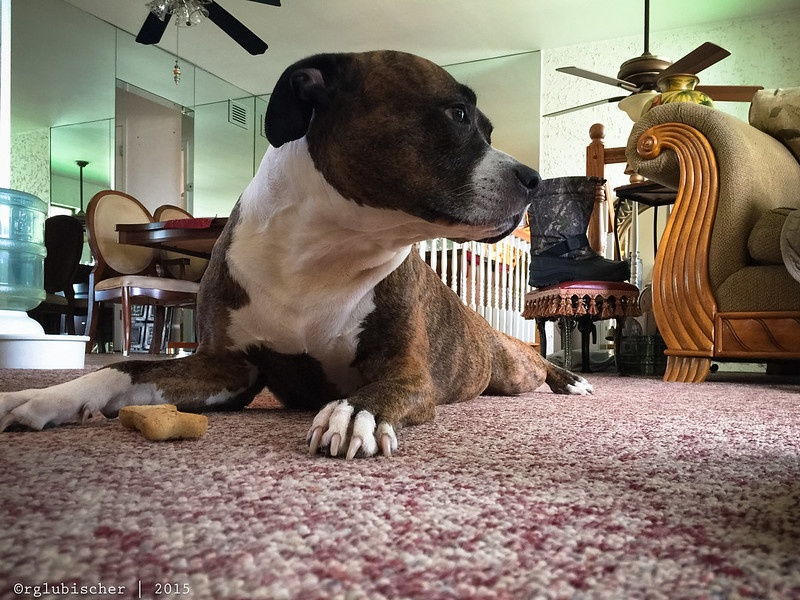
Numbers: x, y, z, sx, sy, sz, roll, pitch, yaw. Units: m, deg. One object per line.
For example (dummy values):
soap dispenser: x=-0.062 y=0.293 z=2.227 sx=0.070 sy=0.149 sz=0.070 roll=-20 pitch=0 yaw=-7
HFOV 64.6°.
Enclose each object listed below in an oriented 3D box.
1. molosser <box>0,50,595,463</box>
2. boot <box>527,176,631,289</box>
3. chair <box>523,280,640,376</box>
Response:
molosser: x=-0.130 y=-0.088 z=1.476 sx=0.737 sy=0.543 sz=1.237 roll=2 pitch=-9 yaw=14
boot: x=1.250 y=-0.387 z=4.363 sx=0.794 sy=0.845 sz=0.415 roll=5 pitch=-25 yaw=18
chair: x=1.185 y=0.174 z=4.211 sx=0.770 sy=0.554 sz=0.782 roll=-6 pitch=-9 yaw=44
